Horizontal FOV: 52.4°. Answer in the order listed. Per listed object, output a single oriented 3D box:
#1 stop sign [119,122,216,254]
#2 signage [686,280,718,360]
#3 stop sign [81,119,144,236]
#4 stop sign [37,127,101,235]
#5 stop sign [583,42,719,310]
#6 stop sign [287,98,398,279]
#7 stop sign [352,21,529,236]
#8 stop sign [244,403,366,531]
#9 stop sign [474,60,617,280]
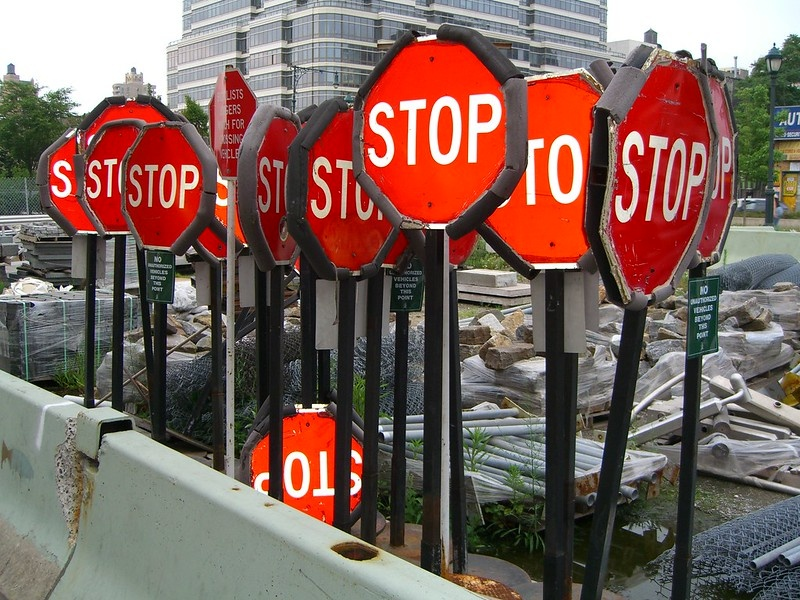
[{"bbox_3d":[-1.701,-0.817,5.906,0.282,0.950,1.050,-1,3,-42],"label":"stop sign"},{"bbox_3d":[1.576,0.087,4.242,0.020,0.467,0.364,2,4,44],"label":"signage"},{"bbox_3d":[-2.299,-1.017,6.523,0.854,1.085,0.185,3,2,37],"label":"stop sign"},{"bbox_3d":[-2.939,-1.041,7.119,0.762,0.892,0.189,27,22,32],"label":"stop sign"},{"bbox_3d":[1.185,-0.563,3.785,0.208,1.228,1.100,13,19,43],"label":"stop sign"},{"bbox_3d":[-0.311,-0.628,4.561,0.205,1.162,0.891,-5,2,39],"label":"stop sign"},{"bbox_3d":[0.169,-0.828,3.982,0.913,1.024,0.099,1,2,27],"label":"stop sign"},{"bbox_3d":[-0.652,1.073,5.316,0.797,0.769,0.389,0,2,-11],"label":"stop sign"},{"bbox_3d":[0.756,-0.680,4.157,1.065,1.270,0.167,2,-1,36],"label":"stop sign"}]
